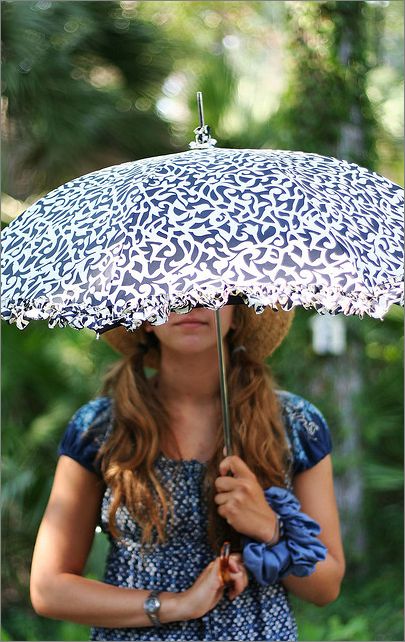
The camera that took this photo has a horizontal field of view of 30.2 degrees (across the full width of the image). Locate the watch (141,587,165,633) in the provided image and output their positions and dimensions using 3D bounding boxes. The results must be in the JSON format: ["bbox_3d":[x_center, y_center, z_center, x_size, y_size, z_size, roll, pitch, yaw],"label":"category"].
[{"bbox_3d":[-0.132,0.763,1.976,0.018,0.072,0.067,-10,91,-22],"label":"watch"}]
